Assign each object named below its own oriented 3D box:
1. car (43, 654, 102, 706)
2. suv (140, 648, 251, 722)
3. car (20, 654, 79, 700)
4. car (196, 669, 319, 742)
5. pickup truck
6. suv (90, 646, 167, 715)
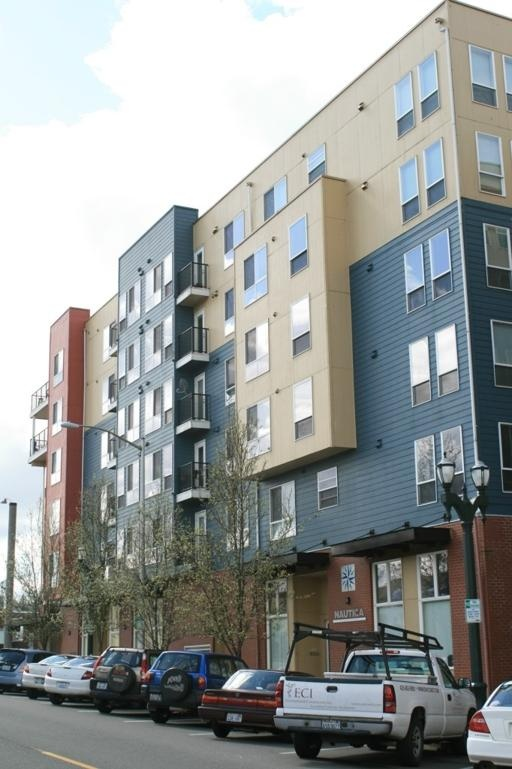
[{"bbox_3d":[-4.653,8.089,23.721,1.410,1.054,2.474,-2,-13,13],"label":"car"},{"bbox_3d":[-1.142,5.917,17.307,1.133,1.084,2.120,-7,-11,33],"label":"suv"},{"bbox_3d":[-6.344,8.576,25.516,1.255,1.045,2.631,-5,-12,24],"label":"car"},{"bbox_3d":[0.131,5.584,14.723,1.287,0.984,2.364,-5,-11,28],"label":"car"},{"bbox_3d":[1.726,4.088,11.694,1.773,1.537,3.168,-8,-14,33],"label":"pickup truck"},{"bbox_3d":[-2.940,6.530,19.194,1.153,1.047,1.926,-7,-9,37],"label":"suv"}]
